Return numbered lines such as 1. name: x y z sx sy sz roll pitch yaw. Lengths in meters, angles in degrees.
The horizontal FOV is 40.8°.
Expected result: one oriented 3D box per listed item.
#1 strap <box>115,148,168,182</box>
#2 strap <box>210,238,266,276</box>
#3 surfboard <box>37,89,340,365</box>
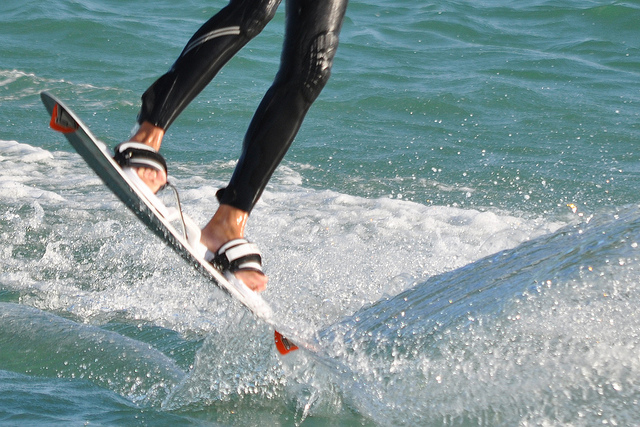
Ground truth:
1. strap: -1.392 -0.399 6.597 0.302 0.191 0.076 5 61 -7
2. strap: -0.627 0.335 6.708 0.456 0.139 0.222 22 12 24
3. surfboard: -1.305 0.226 8.410 4.963 0.404 0.515 34 6 -18
